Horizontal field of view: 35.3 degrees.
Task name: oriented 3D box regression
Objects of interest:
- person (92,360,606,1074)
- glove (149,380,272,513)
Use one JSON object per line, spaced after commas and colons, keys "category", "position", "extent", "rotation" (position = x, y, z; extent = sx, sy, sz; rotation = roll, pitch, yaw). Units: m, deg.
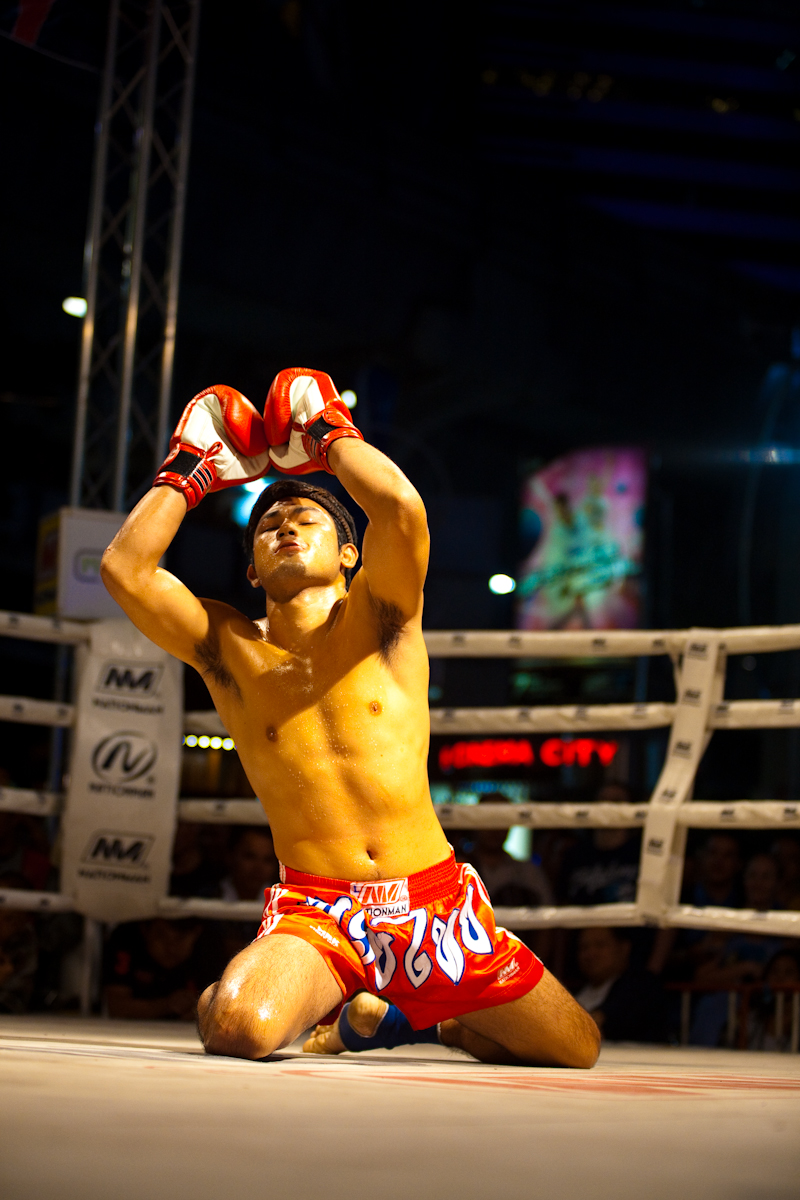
{"category": "person", "position": [-0.199, 0.283, 2.585], "extent": [0.912, 1.318, 0.845], "rotation": [7, -20, -34]}
{"category": "glove", "position": [-0.400, -0.327, 2.776], "extent": [0.239, 0.293, 0.129], "rotation": [33, -14, 2]}
